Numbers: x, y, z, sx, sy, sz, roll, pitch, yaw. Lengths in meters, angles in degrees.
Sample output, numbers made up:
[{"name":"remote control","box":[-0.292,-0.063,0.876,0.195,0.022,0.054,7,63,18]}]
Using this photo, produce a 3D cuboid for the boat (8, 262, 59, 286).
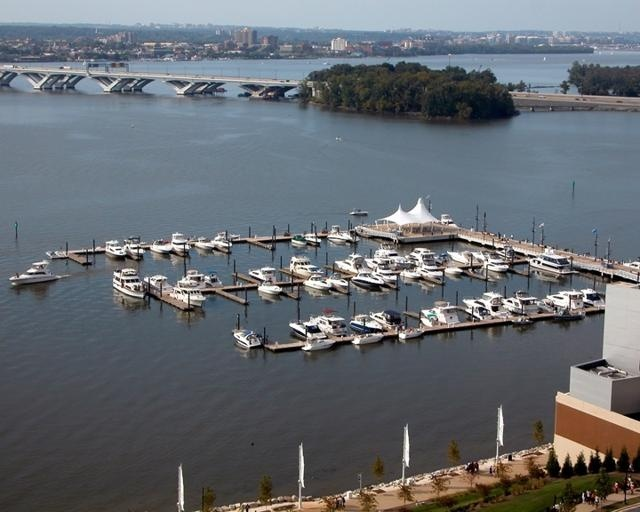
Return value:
[{"name":"boat","box":[-17.676,1.068,61.895,2.813,1.042,3.622,-3,11,3]}]

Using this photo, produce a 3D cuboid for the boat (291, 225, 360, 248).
[{"name":"boat","box":[0.127,-1.438,73.025,5.222,1.169,3.031,-7,11,-21]}]

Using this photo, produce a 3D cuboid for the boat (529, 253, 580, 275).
[{"name":"boat","box":[15.172,0.505,65.471,1.222,0.943,2.147,-8,17,-36]}]

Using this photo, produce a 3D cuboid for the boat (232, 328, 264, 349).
[{"name":"boat","box":[-4.026,4.326,52.879,0.737,0.573,1.665,-10,18,-27]}]

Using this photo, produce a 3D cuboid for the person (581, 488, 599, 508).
[{"name":"person","box":[9.926,8.923,36.697,0.764,0.506,0.363,-2,8,-5]}]
